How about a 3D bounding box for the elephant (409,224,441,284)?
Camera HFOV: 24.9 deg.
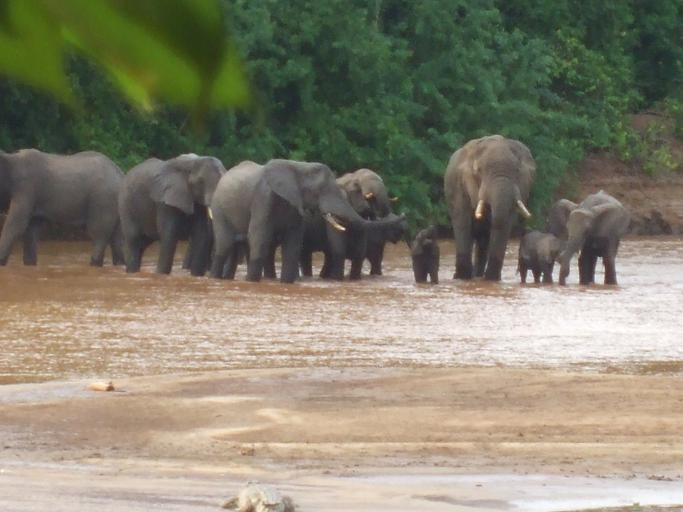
[{"bbox_3d":[1.533,0.024,28.807,0.532,1.099,0.891,2,13,3],"label":"elephant"}]
